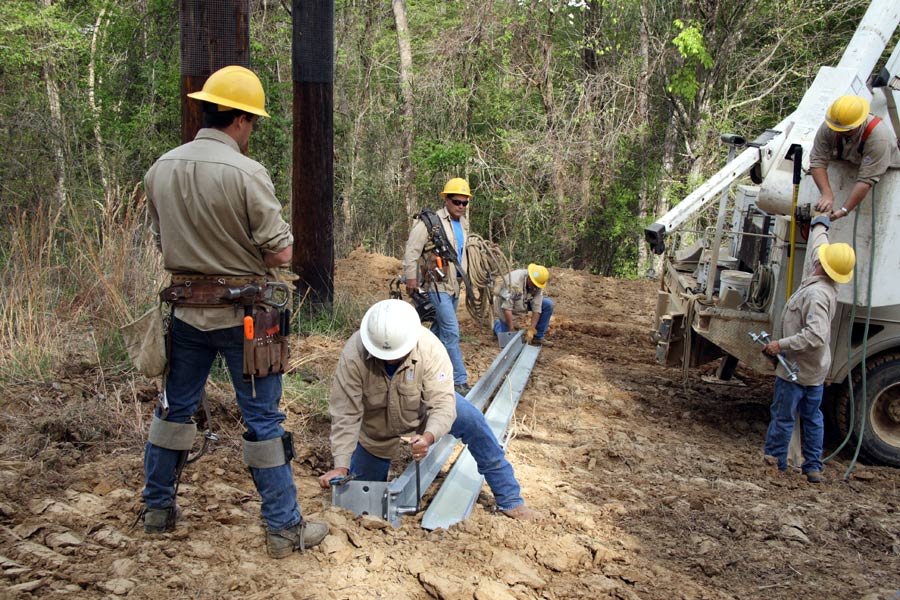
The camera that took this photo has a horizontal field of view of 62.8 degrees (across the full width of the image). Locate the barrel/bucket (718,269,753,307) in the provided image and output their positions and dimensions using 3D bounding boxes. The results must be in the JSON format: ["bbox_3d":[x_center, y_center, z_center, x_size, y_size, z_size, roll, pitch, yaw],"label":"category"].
[{"bbox_3d":[3.546,-0.149,9.136,0.385,0.439,0.404,4,19,-2],"label":"barrel/bucket"}]

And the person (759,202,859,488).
[{"bbox_3d":[3.769,0.486,7.812,0.810,2.787,0.614,1,10,-14],"label":"person"}]

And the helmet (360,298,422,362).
[{"bbox_3d":[-0.513,0.187,6.359,0.533,0.241,0.621,-5,50,-4],"label":"helmet"}]

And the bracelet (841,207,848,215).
[{"bbox_3d":[4.162,-0.941,7.751,0.049,0.082,0.076,10,10,37],"label":"bracelet"}]

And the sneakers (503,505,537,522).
[{"bbox_3d":[0.638,1.943,6.737,0.242,0.109,0.141,1,19,0],"label":"sneakers"}]

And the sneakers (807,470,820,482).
[{"bbox_3d":[3.873,1.868,7.844,0.072,0.072,0.130,0,-14,3],"label":"sneakers"}]

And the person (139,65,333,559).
[{"bbox_3d":[-1.762,0.076,5.840,1.350,3.779,0.586,5,10,4],"label":"person"}]

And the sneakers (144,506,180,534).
[{"bbox_3d":[-2.317,1.751,5.898,0.295,0.149,0.128,4,-7,-7],"label":"sneakers"}]

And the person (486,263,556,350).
[{"bbox_3d":[1.064,0.010,10.837,0.881,1.324,0.843,-5,25,-17],"label":"person"}]

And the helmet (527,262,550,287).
[{"bbox_3d":[1.259,-0.343,10.631,0.289,0.336,0.395,5,9,4],"label":"helmet"}]
